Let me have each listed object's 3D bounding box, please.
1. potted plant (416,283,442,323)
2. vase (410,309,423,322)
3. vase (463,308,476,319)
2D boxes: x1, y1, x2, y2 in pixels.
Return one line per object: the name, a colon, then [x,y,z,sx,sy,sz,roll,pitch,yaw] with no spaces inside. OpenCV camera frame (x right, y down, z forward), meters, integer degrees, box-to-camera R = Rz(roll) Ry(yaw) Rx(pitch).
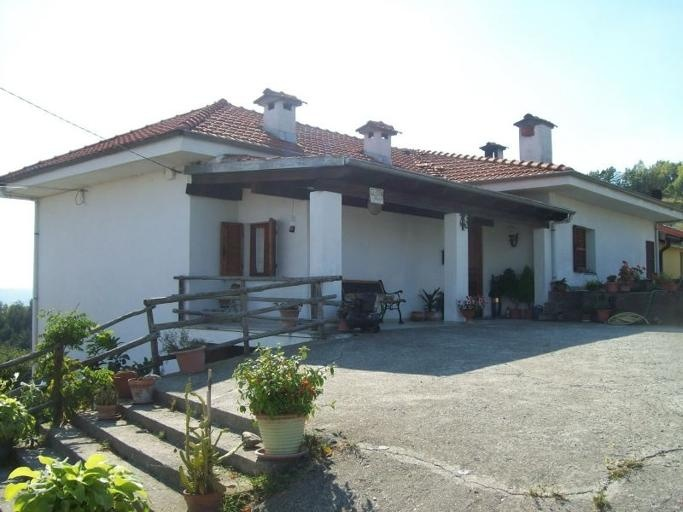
potted plant: [2.178,1.142,14.343,0.648,0.777,0.799,1,-10,4]
vase: [1.829,1.453,13.952,0.225,0.153,0.225,4,-9,-19]
vase: [2.829,1.288,12.920,0.266,0.263,0.252,-2,-3,10]
